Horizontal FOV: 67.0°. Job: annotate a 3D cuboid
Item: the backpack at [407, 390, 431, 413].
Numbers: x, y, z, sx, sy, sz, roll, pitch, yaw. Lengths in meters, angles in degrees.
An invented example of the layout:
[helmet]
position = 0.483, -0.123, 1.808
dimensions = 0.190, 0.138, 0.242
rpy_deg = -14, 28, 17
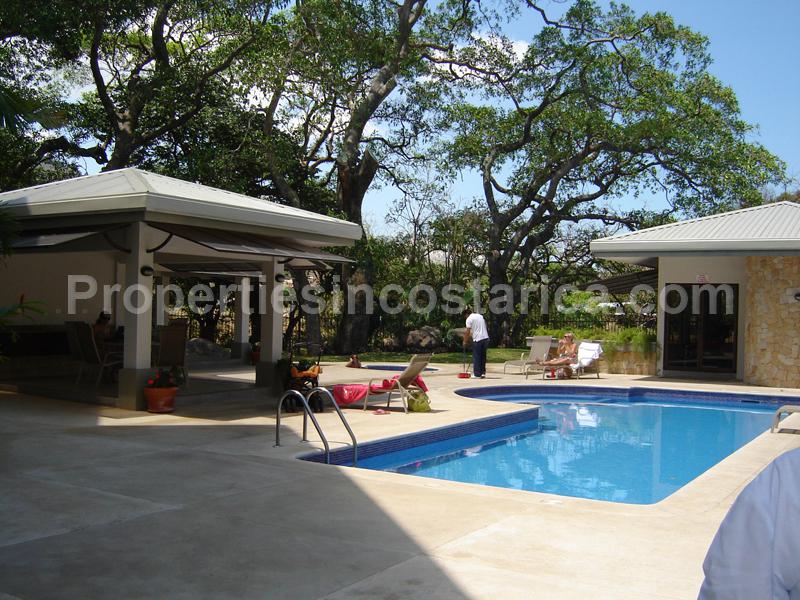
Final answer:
[backpack]
position = 0.351, 1.869, 11.000
dimensions = 0.341, 0.338, 0.350
rpy_deg = -3, -3, 22

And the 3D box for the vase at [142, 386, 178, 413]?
[vase]
position = -4.055, 1.660, 10.184
dimensions = 0.464, 0.351, 0.456
rpy_deg = -3, -4, 32

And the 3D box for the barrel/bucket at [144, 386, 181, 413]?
[barrel/bucket]
position = -4.005, 1.670, 10.092
dimensions = 0.448, 0.334, 0.460
rpy_deg = -1, -6, 0

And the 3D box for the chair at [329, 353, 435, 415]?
[chair]
position = -0.341, 1.630, 11.351
dimensions = 1.739, 0.993, 1.092
rpy_deg = 1, -3, 22

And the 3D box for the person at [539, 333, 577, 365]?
[person]
position = 4.665, 1.419, 17.316
dimensions = 0.788, 0.940, 1.791
rpy_deg = 4, 2, 17
